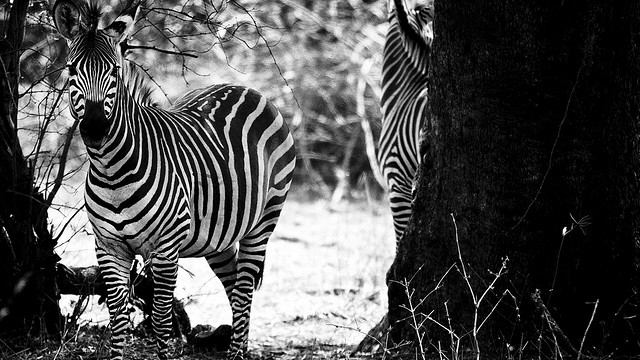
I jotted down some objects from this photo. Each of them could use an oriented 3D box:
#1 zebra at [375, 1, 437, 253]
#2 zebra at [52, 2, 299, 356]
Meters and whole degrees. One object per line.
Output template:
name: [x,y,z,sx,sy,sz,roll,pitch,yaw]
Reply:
zebra: [0.887,-0.663,7.777,0.513,2.515,1.333,5,13,5]
zebra: [-1.300,0.105,6.684,2.054,3.264,0.856,-9,18,-41]
